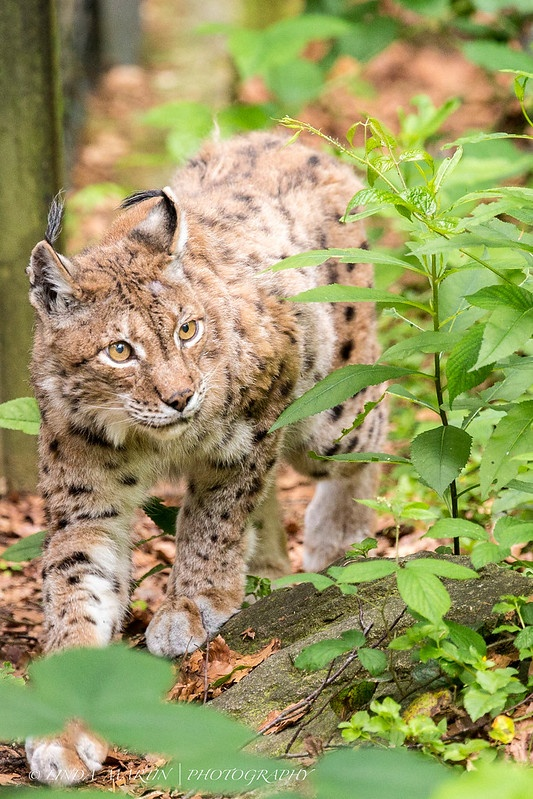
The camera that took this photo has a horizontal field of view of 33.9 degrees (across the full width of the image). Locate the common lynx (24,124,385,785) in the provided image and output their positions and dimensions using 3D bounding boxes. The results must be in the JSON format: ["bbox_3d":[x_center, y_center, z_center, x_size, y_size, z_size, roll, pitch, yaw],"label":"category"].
[{"bbox_3d":[-0.273,0.034,3.615,0.794,1.960,2.164,8,22,31],"label":"common lynx"}]
